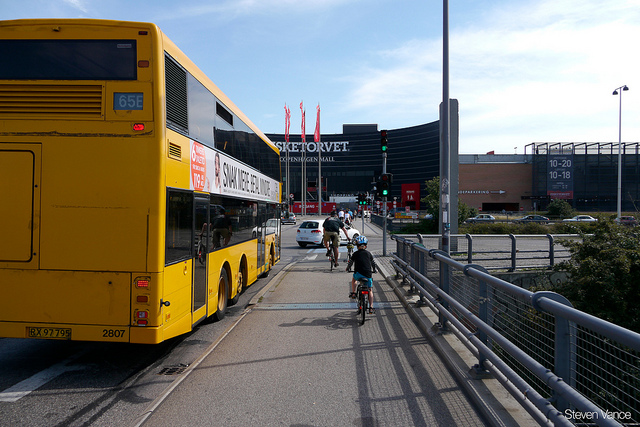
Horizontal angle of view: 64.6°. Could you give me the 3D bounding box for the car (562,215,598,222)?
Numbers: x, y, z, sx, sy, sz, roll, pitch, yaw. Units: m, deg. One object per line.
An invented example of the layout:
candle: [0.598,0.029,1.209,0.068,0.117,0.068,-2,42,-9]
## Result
car: [26.605,0.442,52.452,1.738,0.641,0.851,2,0,3]

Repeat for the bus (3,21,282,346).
bus: [-2.944,-0.399,9.723,2.330,5.718,5.090,3,6,27]

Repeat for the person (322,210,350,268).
person: [0.626,0.929,19.300,1.143,2.143,1.082,1,-9,0]

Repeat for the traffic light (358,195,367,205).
traffic light: [2.575,-0.837,30.619,0.500,0.567,0.520,1,8,9]
